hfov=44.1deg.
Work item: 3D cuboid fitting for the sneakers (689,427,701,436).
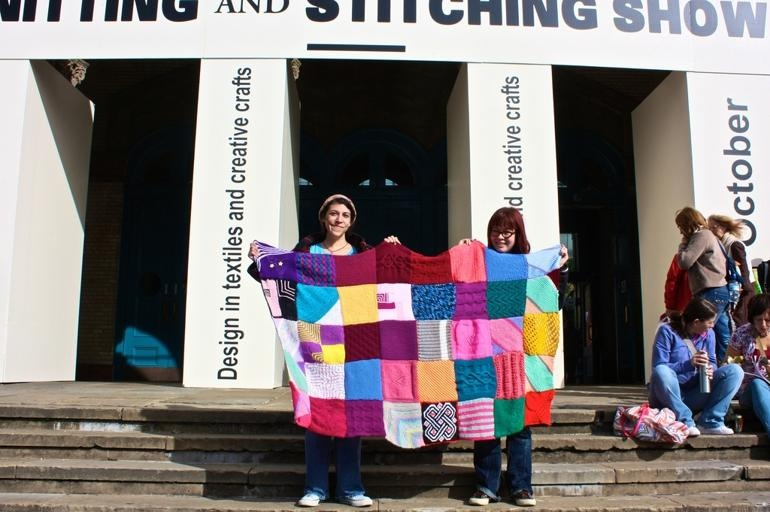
[{"bbox_3d":[3.579,1.983,10.995,0.201,0.120,0.054,3,-6,-29],"label":"sneakers"}]

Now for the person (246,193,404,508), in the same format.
[{"bbox_3d":[-0.581,1.005,10.572,0.881,3.362,0.393,0,-6,-8],"label":"person"}]

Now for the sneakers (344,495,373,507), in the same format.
[{"bbox_3d":[-0.290,2.610,10.357,0.267,0.128,0.124,0,-7,9],"label":"sneakers"}]

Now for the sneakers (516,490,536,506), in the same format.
[{"bbox_3d":[1.529,2.595,10.384,0.255,0.159,0.130,0,-6,-1],"label":"sneakers"}]

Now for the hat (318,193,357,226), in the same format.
[{"bbox_3d":[-0.548,-0.605,10.801,0.386,0.450,0.329,-4,14,-4],"label":"hat"}]

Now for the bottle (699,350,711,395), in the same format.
[{"bbox_3d":[3.697,1.322,11.003,0.130,0.475,0.254,-2,-6,19],"label":"bottle"}]

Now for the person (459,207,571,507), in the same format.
[{"bbox_3d":[1.394,1.069,10.602,1.053,3.238,0.303,-1,-6,3],"label":"person"}]

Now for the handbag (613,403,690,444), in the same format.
[{"bbox_3d":[3.031,1.835,10.971,0.561,0.295,0.461,-6,-5,43],"label":"handbag"}]
